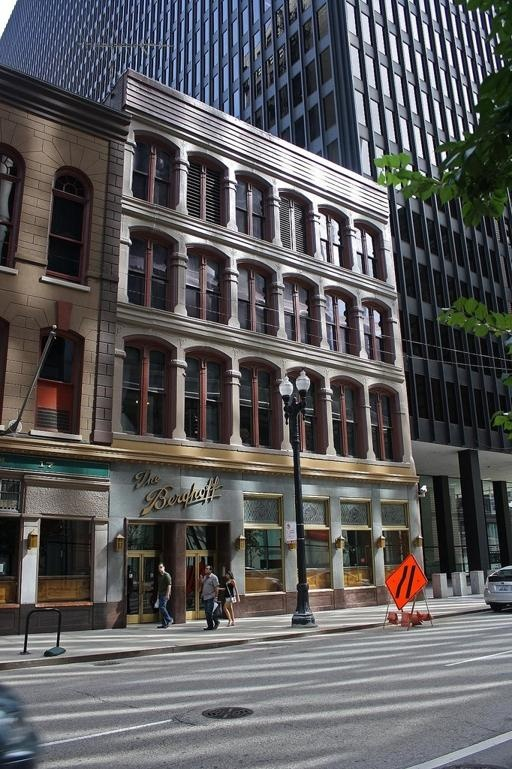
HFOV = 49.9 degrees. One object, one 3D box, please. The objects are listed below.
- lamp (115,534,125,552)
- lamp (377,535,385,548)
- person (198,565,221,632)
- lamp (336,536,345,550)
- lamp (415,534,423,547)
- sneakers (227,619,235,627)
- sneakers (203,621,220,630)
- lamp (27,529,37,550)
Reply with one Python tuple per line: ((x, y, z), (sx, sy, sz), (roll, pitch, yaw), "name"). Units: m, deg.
((-4.677, 5.455, 18.986), (0.171, 0.553, 0.368), (-13, -18, 41), "lamp")
((6.233, 7.875, 27.523), (0.236, 0.668, 0.826), (-9, -16, 28), "lamp")
((-1.534, 7.084, 18.365), (0.455, 1.947, 1.011), (0, -14, -4), "person")
((3.867, 7.369, 25.682), (0.475, 0.763, 0.541), (0, -13, 2), "lamp")
((8.511, 8.209, 28.827), (0.277, 0.547, 0.602), (-11, -17, 35), "lamp")
((-0.860, 8.390, 19.270), (0.147, 0.303, 0.306), (-20, -45, 23), "sneakers")
((-1.433, 7.901, 18.008), (0.551, 0.253, 0.191), (10, -21, -20), "sneakers")
((-6.984, 4.867, 17.184), (0.320, 0.546, 0.191), (7, -16, -30), "lamp")
